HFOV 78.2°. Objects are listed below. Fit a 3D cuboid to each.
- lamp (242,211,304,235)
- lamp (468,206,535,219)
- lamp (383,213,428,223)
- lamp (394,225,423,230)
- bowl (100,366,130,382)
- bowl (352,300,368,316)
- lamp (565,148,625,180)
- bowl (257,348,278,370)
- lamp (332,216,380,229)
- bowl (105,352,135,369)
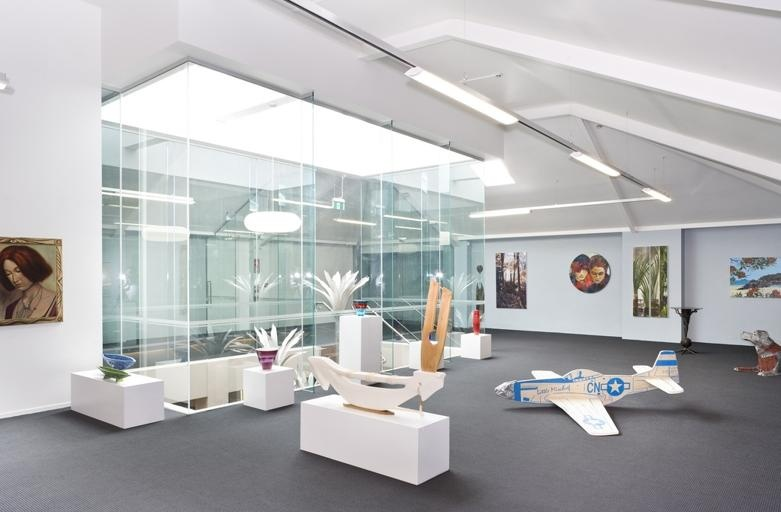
[{"bbox_3d":[-1.886,-0.556,7.762,0.885,0.359,0.189,0,4,-6],"label":"lamp"},{"bbox_3d":[3.269,-1.222,13.547,1.218,0.401,5.199,2,4,17],"label":"lamp"},{"bbox_3d":[0.320,-0.800,10.004,0.896,0.123,0.060,6,19,-29],"label":"lamp"},{"bbox_3d":[0.391,-0.611,10.057,0.655,0.108,0.121,-3,5,-43],"label":"lamp"},{"bbox_3d":[-3.889,1.634,6.796,0.547,0.144,0.174,0,-1,27],"label":"bowl"},{"bbox_3d":[-0.569,0.982,9.221,0.271,0.277,0.282,0,-1,0],"label":"bowl"},{"bbox_3d":[4.184,-1.923,9.818,1.502,0.358,0.296,-2,5,-37],"label":"lamp"},{"bbox_3d":[-1.897,1.555,7.381,0.316,0.244,0.324,-4,-4,0],"label":"bowl"},{"bbox_3d":[-0.658,-0.671,9.359,0.162,0.183,0.975,5,6,44],"label":"lamp"},{"bbox_3d":[-3.964,1.535,6.998,0.363,0.214,0.269,5,5,42],"label":"bowl"}]
